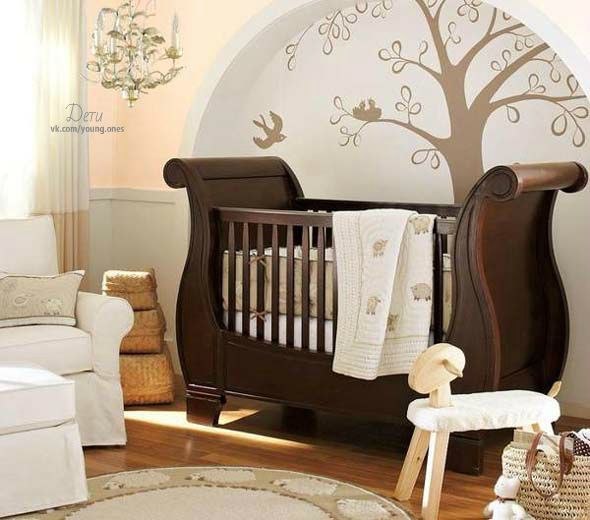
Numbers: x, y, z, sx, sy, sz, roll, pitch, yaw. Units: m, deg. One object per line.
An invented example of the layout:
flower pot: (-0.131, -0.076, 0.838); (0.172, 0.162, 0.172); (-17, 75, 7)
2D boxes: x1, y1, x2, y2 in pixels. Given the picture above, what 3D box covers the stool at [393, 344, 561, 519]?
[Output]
stool: (0.672, 0.491, 2.153); (0.622, 0.662, 0.419); (-7, 9, -19)
